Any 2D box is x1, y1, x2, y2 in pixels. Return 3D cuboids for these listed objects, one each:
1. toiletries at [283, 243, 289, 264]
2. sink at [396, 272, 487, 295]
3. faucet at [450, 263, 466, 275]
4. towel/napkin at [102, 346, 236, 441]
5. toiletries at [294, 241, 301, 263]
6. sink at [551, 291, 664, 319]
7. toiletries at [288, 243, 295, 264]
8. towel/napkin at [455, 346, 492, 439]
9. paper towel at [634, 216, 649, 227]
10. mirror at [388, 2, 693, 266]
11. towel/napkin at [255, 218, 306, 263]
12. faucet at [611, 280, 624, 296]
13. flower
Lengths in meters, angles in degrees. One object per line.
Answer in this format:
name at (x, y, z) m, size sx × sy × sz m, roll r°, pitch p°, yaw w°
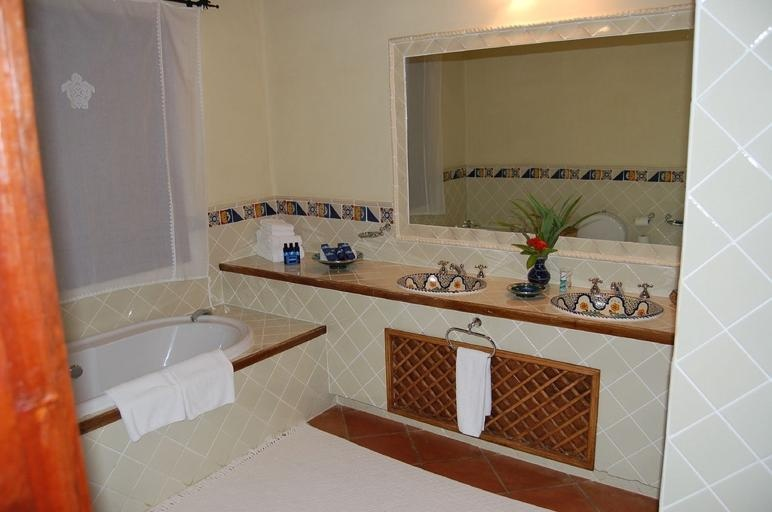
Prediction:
toiletries at (-0.786, -0.010, 4.167) m, size 0.046 × 0.152 × 0.070 m, roll -5°, pitch 12°, yaw -14°
sink at (0.357, 0.195, 3.517) m, size 0.594 × 0.096 × 0.358 m, roll 1°, pitch 12°, yaw 14°
faucet at (0.492, 0.087, 3.684) m, size 0.075 × 0.046 × 0.196 m, roll 3°, pitch 0°, yaw -6°
towel/napkin at (-1.312, 0.645, 3.098) m, size 0.661 × 0.271 × 0.350 m, roll -17°, pitch 21°, yaw -40°
toiletries at (-0.709, -0.022, 4.182) m, size 0.052 × 0.161 × 0.085 m, roll -2°, pitch 11°, yaw -1°
sink at (1.269, 0.304, 3.072) m, size 0.591 × 0.097 × 0.343 m, roll 5°, pitch 13°, yaw 29°
toiletries at (-0.737, -0.013, 4.165) m, size 0.049 × 0.148 × 0.053 m, roll -3°, pitch 12°, yaw -7°
towel/napkin at (0.539, 0.841, 3.276) m, size 0.204 × 0.550 × 0.108 m, roll -1°, pitch 11°, yaw 5°
paper towel at (1.552, -0.209, 3.209) m, size 0.054 × 0.021 × 0.056 m, roll -6°, pitch 23°, yaw 13°
mirror at (1.020, -0.800, 3.330) m, size 1.655 × 1.275 × 0.043 m, roll 4°, pitch 10°, yaw 32°
towel/napkin at (-0.861, -0.203, 4.292) m, size 0.318 × 0.318 × 0.429 m, roll -6°, pitch 13°, yaw -30°
faucet at (1.407, 0.199, 3.220) m, size 0.057 × 0.105 × 0.101 m, roll -9°, pitch 15°, yaw 37°
flower at (1.044, -0.145, 3.345) m, size 0.459 × 0.332 × 0.479 m, roll 1°, pitch 3°, yaw 22°
